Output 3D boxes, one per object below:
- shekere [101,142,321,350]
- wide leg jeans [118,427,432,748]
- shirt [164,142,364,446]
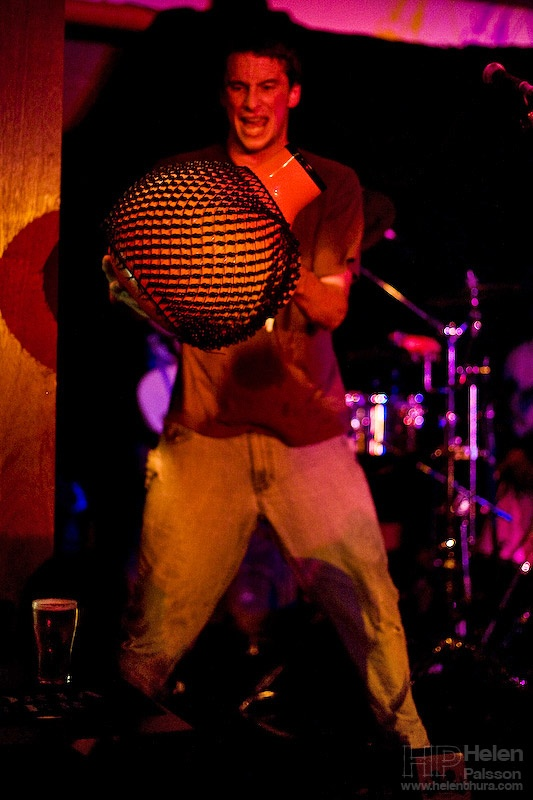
[{"bbox_3d":[-0.152,-0.298,1.909,0.412,0.390,0.178,28,24,28],"label":"shekere"},{"bbox_3d":[-0.012,0.490,2.325,0.772,0.792,0.257,2,-8,-4],"label":"wide leg jeans"},{"bbox_3d":[-0.069,-0.277,2.374,0.614,0.798,0.427,13,46,9],"label":"shirt"}]
